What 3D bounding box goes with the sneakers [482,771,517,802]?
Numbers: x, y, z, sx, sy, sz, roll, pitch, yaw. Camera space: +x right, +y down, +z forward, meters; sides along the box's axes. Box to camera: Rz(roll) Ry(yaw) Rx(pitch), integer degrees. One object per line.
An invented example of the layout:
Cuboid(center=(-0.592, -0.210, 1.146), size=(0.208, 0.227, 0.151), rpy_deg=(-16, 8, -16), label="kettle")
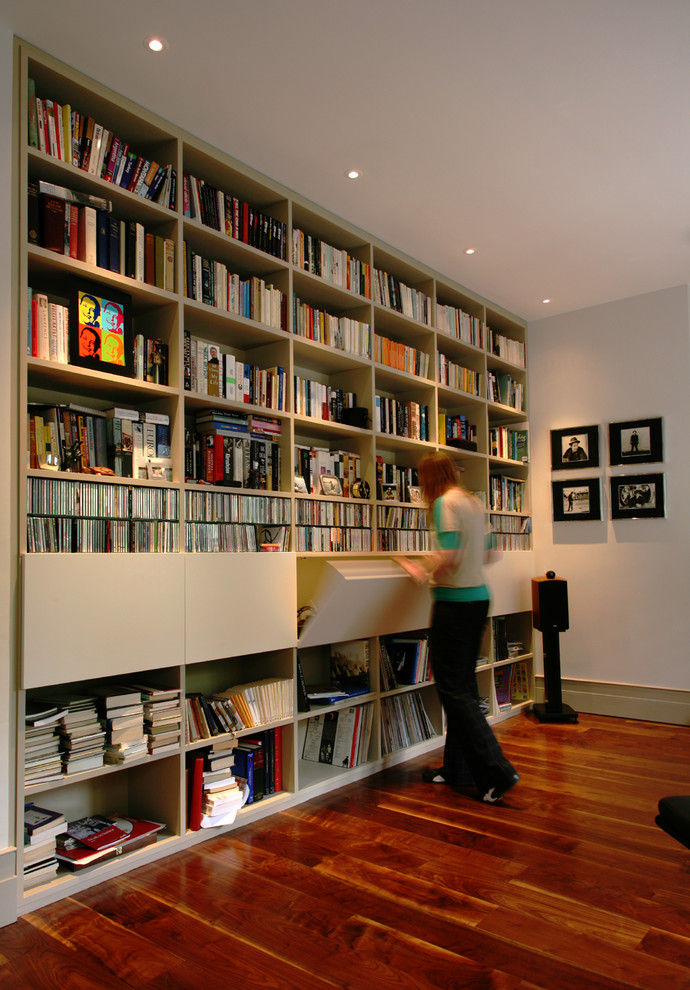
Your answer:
Cuboid(center=(0.656, 1.255, 3.322), size=(0.058, 0.138, 0.106), rpy_deg=(41, -3, 3), label="sneakers")
